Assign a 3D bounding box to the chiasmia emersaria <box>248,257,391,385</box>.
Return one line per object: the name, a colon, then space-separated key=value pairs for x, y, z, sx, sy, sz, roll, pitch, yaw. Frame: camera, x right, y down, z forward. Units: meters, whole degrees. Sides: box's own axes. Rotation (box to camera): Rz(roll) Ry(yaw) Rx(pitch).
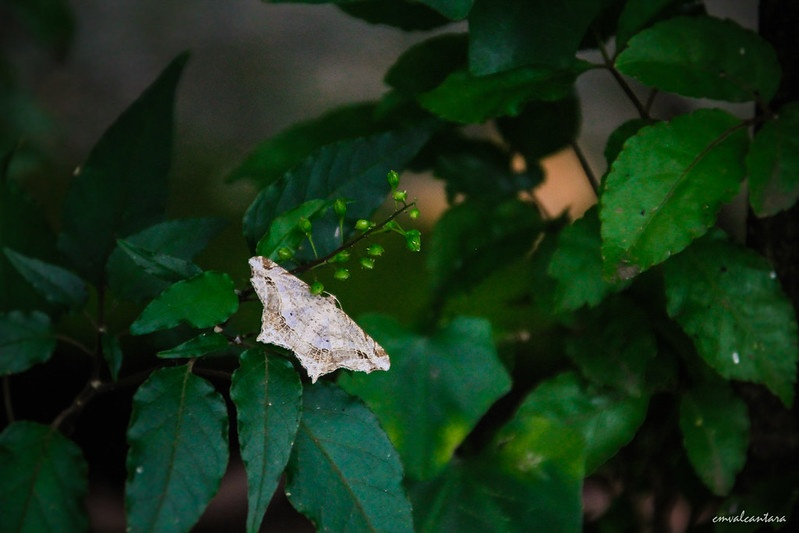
chiasmia emersaria: x=-0.135 y=0.104 z=1.257 sx=0.212 sy=0.129 sz=0.140 roll=17 pitch=-46 yaw=-24
